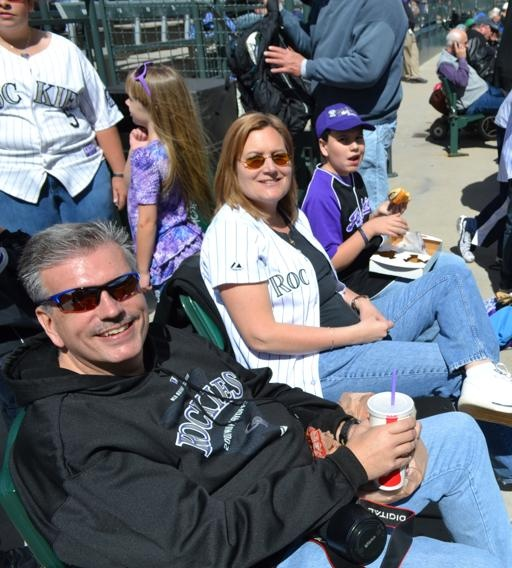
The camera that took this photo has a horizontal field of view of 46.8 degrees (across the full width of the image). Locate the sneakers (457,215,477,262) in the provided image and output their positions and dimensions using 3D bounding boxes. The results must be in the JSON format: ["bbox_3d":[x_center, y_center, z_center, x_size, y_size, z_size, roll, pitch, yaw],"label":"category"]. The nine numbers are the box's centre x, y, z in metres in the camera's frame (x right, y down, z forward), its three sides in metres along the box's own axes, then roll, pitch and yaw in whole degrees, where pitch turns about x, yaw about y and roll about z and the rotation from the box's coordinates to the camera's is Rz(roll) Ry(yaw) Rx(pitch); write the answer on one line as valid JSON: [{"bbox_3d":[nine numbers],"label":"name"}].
[{"bbox_3d":[1.927,-0.415,5.358,0.159,0.412,0.196,-7,-3,3],"label":"sneakers"}]

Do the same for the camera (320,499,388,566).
[{"bbox_3d":[0.286,0.740,1.740,0.136,0.151,0.112,-11,18,-34],"label":"camera"}]

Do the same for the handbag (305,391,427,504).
[{"bbox_3d":[0.357,0.533,2.088,0.356,0.188,0.442,-24,7,-18],"label":"handbag"}]

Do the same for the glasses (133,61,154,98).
[{"bbox_3d":[-0.675,-1.243,3.547,0.068,0.200,0.200,-23,40,1],"label":"glasses"}]

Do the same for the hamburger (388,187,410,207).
[{"bbox_3d":[0.805,-0.499,3.387,0.119,0.092,0.102,-4,16,-9],"label":"hamburger"}]

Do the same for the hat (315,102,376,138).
[{"bbox_3d":[0.495,-0.982,3.473,0.211,0.130,0.292,-23,14,-36],"label":"hat"}]
